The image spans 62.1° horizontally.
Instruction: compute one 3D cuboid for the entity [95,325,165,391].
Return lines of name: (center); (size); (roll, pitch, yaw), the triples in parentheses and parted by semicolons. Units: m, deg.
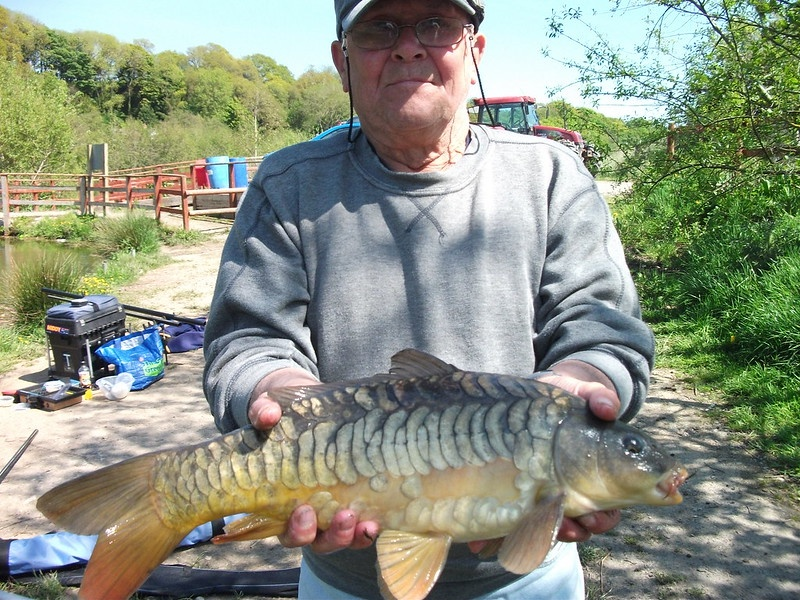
entity: (-3.132, 0.721, 7.978); (0.476, 0.591, 0.871); (3, 17, 27)
